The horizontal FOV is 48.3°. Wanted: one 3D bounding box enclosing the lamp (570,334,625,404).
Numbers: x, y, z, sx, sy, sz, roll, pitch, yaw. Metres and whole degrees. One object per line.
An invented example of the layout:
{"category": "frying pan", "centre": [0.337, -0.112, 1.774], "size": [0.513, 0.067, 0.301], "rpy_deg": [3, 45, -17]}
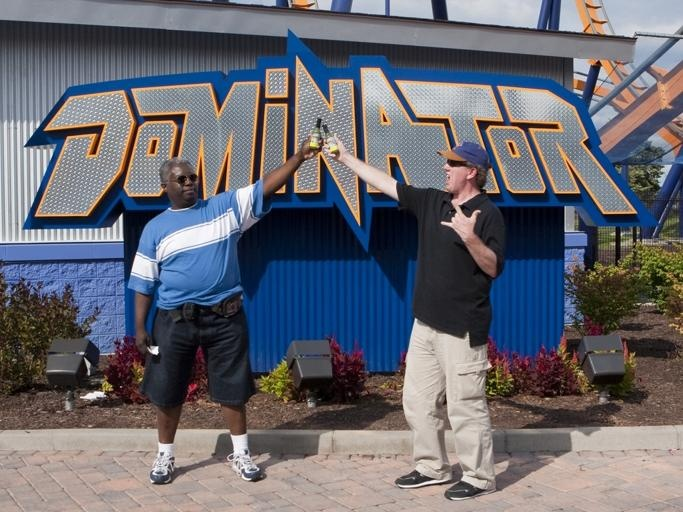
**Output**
{"category": "lamp", "centre": [3.295, 1.355, 9.607], "size": [0.500, 0.872, 0.791], "rpy_deg": [-5, 14, 1]}

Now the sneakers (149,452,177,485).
{"category": "sneakers", "centre": [-1.766, 2.070, 7.557], "size": [0.290, 0.258, 0.261], "rpy_deg": [-7, 14, -29]}

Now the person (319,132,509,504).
{"category": "person", "centre": [0.953, 0.569, 7.482], "size": [1.417, 3.250, 1.038], "rpy_deg": [8, 15, 32]}

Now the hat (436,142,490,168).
{"category": "hat", "centre": [1.219, -0.936, 7.373], "size": [0.369, 0.157, 0.246], "rpy_deg": [8, 15, -8]}

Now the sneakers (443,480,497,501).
{"category": "sneakers", "centre": [1.220, 2.211, 7.239], "size": [0.459, 0.173, 0.165], "rpy_deg": [3, -11, -15]}

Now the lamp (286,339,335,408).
{"category": "lamp", "centre": [-0.367, 1.411, 9.119], "size": [0.497, 0.817, 0.497], "rpy_deg": [2, -12, -30]}

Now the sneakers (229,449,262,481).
{"category": "sneakers", "centre": [-0.981, 2.088, 7.679], "size": [0.188, 0.184, 0.392], "rpy_deg": [5, 0, -36]}

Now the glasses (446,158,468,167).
{"category": "glasses", "centre": [1.120, -0.868, 7.359], "size": [0.191, 0.090, 0.120], "rpy_deg": [13, 7, -14]}
